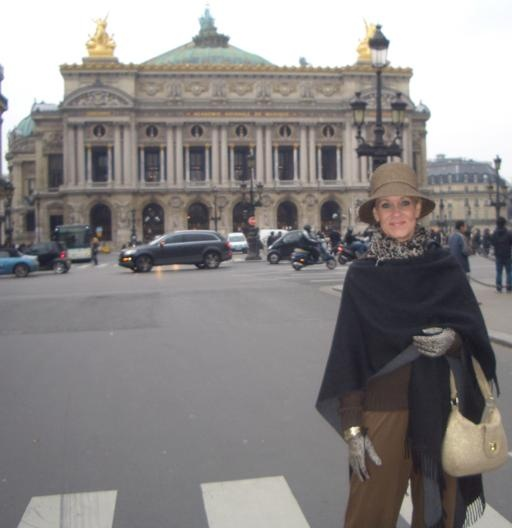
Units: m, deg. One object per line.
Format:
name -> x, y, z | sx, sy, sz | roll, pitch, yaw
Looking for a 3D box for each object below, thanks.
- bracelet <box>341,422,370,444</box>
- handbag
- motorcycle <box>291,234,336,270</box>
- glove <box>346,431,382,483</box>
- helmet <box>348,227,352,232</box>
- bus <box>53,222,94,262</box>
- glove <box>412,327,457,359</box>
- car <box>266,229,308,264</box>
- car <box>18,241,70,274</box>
bracelet -> 0.428, 0.728, 2.970 | 0.074, 0.088, 0.080 | -5, -5, 30
handbag -> 0.908, 0.742, 2.870 | 0.254, 0.270, 0.179 | -2, 2, 21
motorcycle -> 2.326, -0.374, 27.718 | 1.819, 1.465, 0.848 | -4, 13, 0
glove -> 0.460, 0.853, 2.947 | 0.116, 0.215, 0.053 | -19, -19, -17
helmet -> 3.651, -1.306, 26.561 | 0.176, 0.117, 0.186 | 0, -2, -27
bus -> -10.793, -1.142, 41.410 | 2.950, 3.391, 2.213 | 1, 2, -16
glove -> 0.775, 0.344, 2.990 | 0.176, 0.132, 0.080 | -2, 1, 13
car -> 1.631, -0.768, 33.524 | 2.177, 1.673, 1.312 | -1, -2, 10
car -> -9.287, -0.229, 30.705 | 1.780, 1.233, 1.214 | 4, 2, 4
